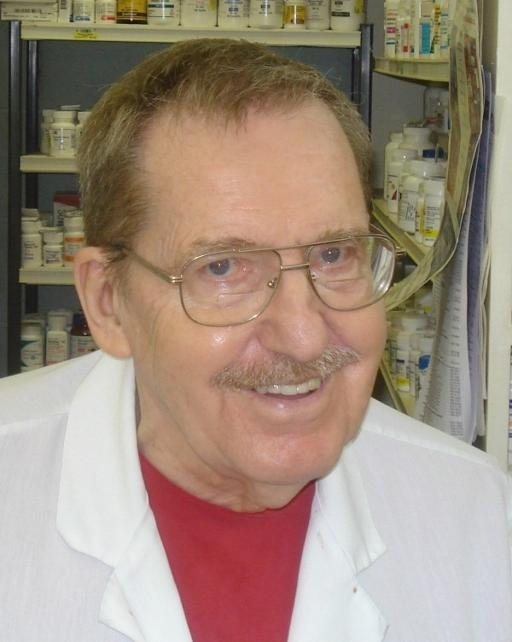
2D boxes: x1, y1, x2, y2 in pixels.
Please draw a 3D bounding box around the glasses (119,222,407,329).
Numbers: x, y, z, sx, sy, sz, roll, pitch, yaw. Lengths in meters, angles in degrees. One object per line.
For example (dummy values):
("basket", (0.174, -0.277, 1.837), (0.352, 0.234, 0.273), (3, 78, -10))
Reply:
("glasses", (0.036, -0.062, 0.832), (0.388, 0.095, 0.178), (-5, 18, -14))
